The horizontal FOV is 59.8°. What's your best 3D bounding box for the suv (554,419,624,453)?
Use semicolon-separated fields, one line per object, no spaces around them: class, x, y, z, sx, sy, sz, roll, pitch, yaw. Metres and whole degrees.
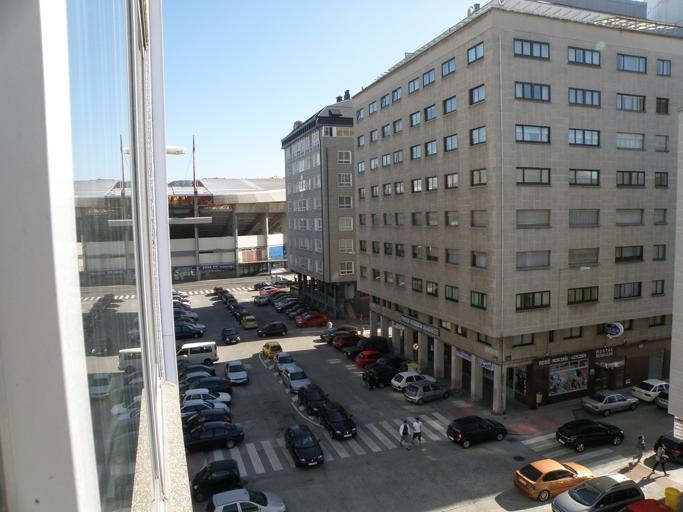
suv;12.187;8.681;29.315;3.038;1.008;1.396;-7;16;-14

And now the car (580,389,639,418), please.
car;15.538;8.392;34.338;2.830;0.860;1.281;-6;14;-17

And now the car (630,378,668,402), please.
car;18.679;8.279;36.061;2.135;0.650;1.210;-13;17;-25

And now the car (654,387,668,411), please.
car;18.732;8.468;34.930;0.626;0.894;1.731;2;5;23

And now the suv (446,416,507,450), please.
suv;6.722;8.842;30.010;2.647;1.077;1.167;-2;5;-24

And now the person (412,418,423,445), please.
person;3.858;8.798;30.008;0.397;1.297;1.500;1;4;12
